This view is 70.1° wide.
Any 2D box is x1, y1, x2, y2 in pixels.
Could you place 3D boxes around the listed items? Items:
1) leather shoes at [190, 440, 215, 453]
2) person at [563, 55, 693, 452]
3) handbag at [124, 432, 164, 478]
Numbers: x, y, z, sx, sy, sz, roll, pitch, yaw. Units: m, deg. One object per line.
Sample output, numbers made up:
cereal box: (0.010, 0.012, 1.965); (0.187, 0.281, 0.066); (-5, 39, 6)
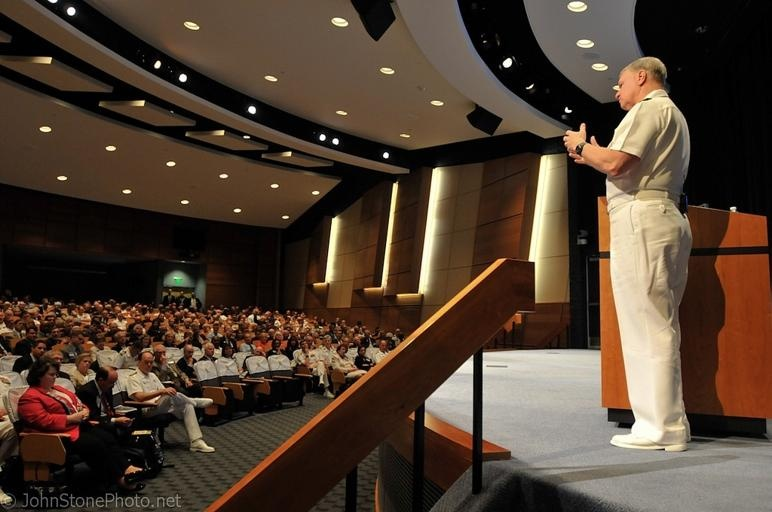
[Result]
leather shoes: (-2.316, 2.367, 6.885); (0.304, 0.139, 0.130); (2, -9, 1)
person: (1.449, -0.066, 3.149); (0.661, 2.254, 0.338); (-3, -6, 15)
handbag: (-2.649, 2.147, 6.030); (0.454, 0.412, 0.417); (3, -28, -16)
